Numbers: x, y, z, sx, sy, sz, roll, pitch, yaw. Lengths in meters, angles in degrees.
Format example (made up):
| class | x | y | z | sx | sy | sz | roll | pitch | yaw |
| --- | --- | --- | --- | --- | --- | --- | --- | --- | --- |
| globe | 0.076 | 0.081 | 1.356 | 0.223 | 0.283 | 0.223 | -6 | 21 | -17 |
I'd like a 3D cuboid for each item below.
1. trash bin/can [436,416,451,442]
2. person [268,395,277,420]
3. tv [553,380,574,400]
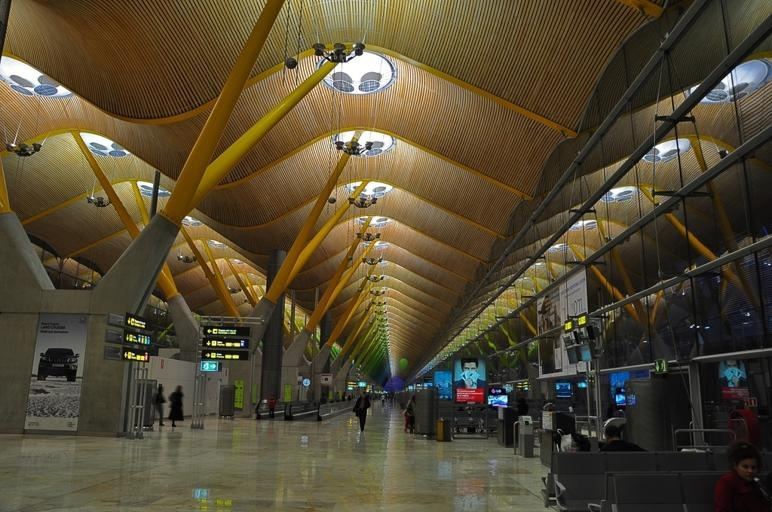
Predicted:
| class | x | y | z | sx | sy | sz | roll | pitch | yaw |
| --- | --- | --- | --- | --- | --- | --- | --- | --- | --- |
| trash bin/can | 2.835 | 7.810 | 24.743 | 0.707 | 1.701 | 1.679 | 3 | -16 | 1 |
| person | -8.373 | 11.111 | 38.272 | 0.507 | 1.549 | 2.154 | 4 | -18 | -12 |
| tv | 10.614 | 7.897 | 30.863 | 0.812 | 1.152 | 2.009 | 2 | -18 | -6 |
